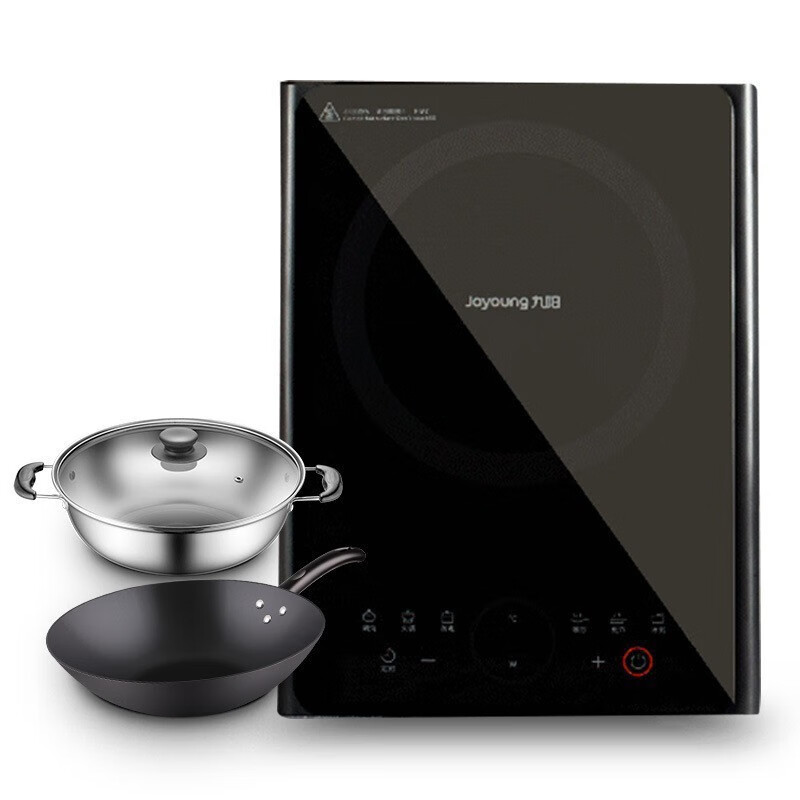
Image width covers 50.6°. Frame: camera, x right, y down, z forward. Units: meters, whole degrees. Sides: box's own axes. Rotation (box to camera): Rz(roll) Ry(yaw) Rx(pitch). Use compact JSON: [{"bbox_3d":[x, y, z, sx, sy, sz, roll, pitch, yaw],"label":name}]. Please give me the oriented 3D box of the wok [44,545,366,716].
[{"bbox_3d":[-0.201,0.230,0.827,0.281,0.141,0.217,0,2,19],"label":"wok"}]
